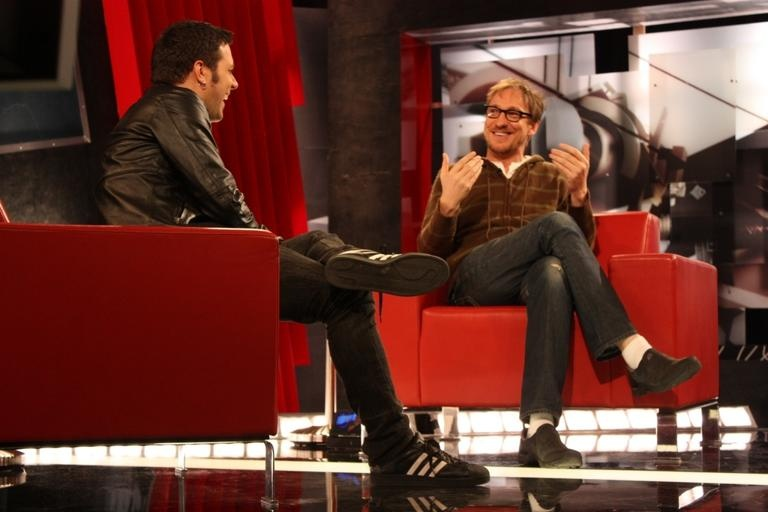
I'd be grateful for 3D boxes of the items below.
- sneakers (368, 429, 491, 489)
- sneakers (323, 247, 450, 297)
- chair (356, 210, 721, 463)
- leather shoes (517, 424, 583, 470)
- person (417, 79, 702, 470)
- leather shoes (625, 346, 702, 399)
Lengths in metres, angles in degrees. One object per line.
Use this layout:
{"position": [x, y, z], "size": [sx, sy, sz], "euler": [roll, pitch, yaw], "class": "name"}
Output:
{"position": [0.143, 0.672, 2.421], "size": [0.439, 0.185, 0.152], "euler": [0, -6, 0], "class": "sneakers"}
{"position": [0.014, 0.048, 2.298], "size": [0.391, 0.144, 0.159], "euler": [4, 6, 2], "class": "sneakers"}
{"position": [0.614, 0.249, 3.024], "size": [1.281, 0.983, 0.817], "euler": [-5, 0, 33], "class": "chair"}
{"position": [0.565, 0.658, 2.522], "size": [0.135, 0.144, 0.337], "euler": [3, -12, -18], "class": "leather shoes"}
{"position": [0.644, 0.006, 2.894], "size": [0.802, 1.544, 1.135], "euler": [4, -8, -30], "class": "person"}
{"position": [0.993, 0.406, 2.624], "size": [0.155, 0.158, 0.317], "euler": [-4, -20, -29], "class": "leather shoes"}
